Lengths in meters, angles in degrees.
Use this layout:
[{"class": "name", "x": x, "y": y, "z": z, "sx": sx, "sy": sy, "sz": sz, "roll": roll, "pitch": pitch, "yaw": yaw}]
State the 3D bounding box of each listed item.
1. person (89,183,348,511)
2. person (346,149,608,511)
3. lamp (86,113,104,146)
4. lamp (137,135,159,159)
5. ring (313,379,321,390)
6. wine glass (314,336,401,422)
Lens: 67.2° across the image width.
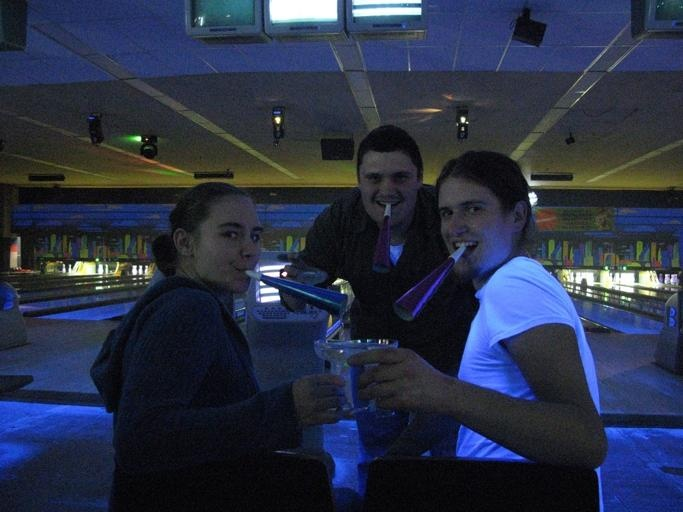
[{"class": "person", "x": -0.375, "y": 0.183, "z": 1.691, "sx": 0.861, "sy": 1.099, "sz": 0.696, "roll": -4, "pitch": -8, "yaw": -11}, {"class": "person", "x": 0.344, "y": 0.111, "z": 1.244, "sx": 0.531, "sy": 0.797, "sz": 0.432, "roll": 2, "pitch": 2, "yaw": 15}, {"class": "lamp", "x": -2.695, "y": -1.407, "z": 5.666, "sx": 0.142, "sy": 0.280, "sz": 0.365, "roll": 1, "pitch": 1, "yaw": -27}, {"class": "lamp", "x": -2.469, "y": -1.432, "z": 6.659, "sx": 0.258, "sy": 0.290, "sz": 0.300, "roll": -1, "pitch": -18, "yaw": -4}, {"class": "ring", "x": -0.053, "y": 0.275, "z": 1.110, "sx": 0.007, "sy": 0.018, "sz": 0.016, "roll": 3, "pitch": 2, "yaw": 45}, {"class": "wine glass", "x": 0.032, "y": 0.271, "z": 1.176, "sx": 0.200, "sy": 0.135, "sz": 0.171, "roll": 0, "pitch": -8, "yaw": -3}]
